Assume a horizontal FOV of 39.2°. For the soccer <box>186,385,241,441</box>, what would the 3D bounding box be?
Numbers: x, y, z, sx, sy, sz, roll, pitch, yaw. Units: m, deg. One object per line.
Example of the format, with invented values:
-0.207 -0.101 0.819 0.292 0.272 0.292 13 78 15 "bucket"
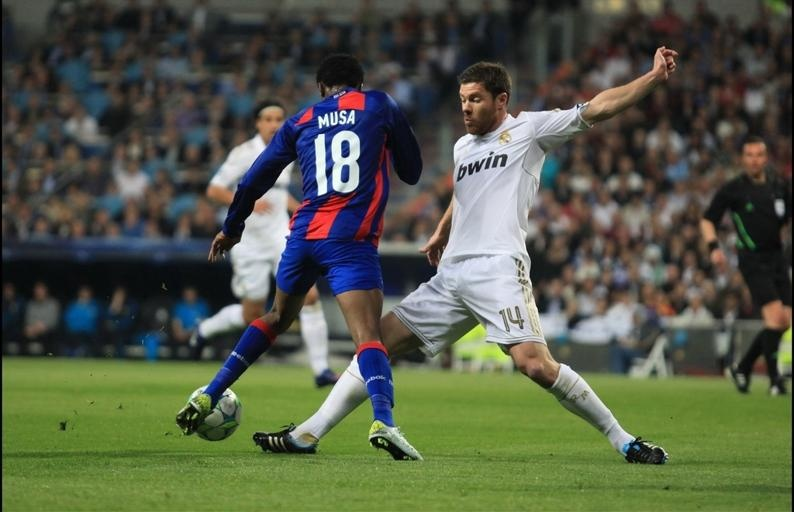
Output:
-2.127 1.818 12.821 0.554 0.662 0.592 0 -3 -7 "soccer"
